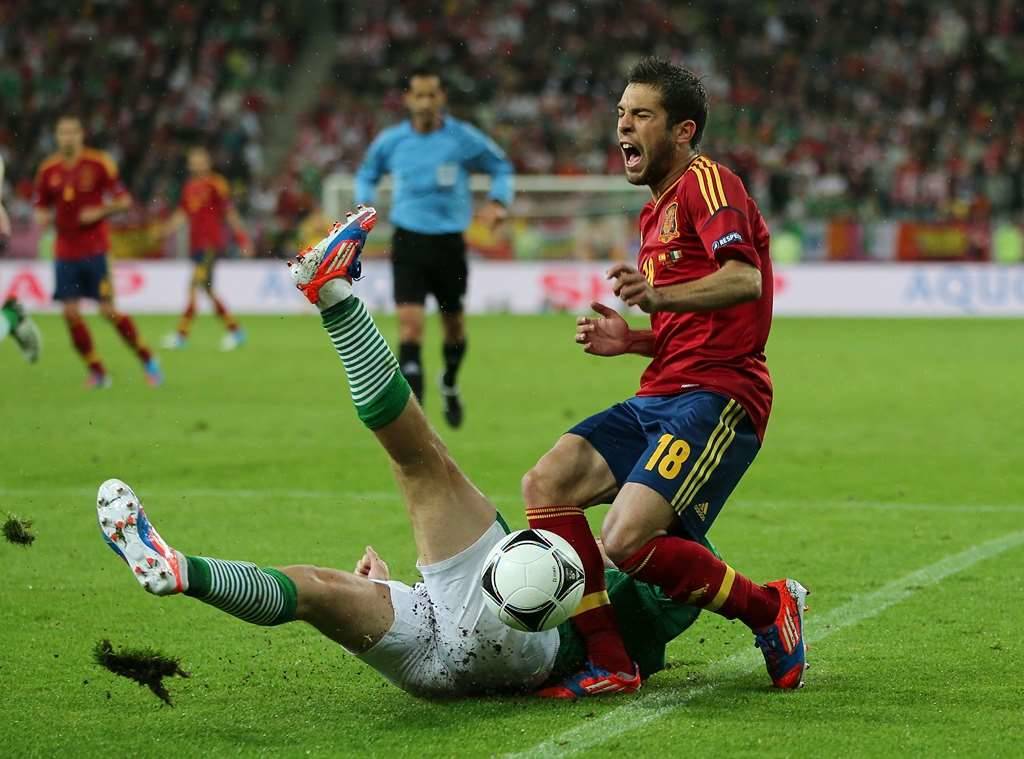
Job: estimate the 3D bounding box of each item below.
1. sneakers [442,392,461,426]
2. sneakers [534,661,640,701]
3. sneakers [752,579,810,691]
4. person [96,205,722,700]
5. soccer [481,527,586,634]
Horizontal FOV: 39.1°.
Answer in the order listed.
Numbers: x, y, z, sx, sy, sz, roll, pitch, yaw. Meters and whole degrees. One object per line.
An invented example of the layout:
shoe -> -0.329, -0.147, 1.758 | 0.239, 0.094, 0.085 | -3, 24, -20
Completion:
sneakers -> -0.449, 0.222, 10.863 | 0.083, 0.267, 0.109 | -6, 24, 5
sneakers -> 0.318, 1.232, 5.891 | 0.393, 0.167, 0.149 | 2, -13, -5
sneakers -> 1.100, 1.060, 6.046 | 0.230, 0.505, 0.158 | 3, -16, -29
person -> -0.395, 0.705, 5.656 | 2.168, 1.079, 1.074 | 7, -37, 1
soccer -> 0.079, 0.786, 5.708 | 0.371, 0.393, 0.386 | 26, -22, 4
